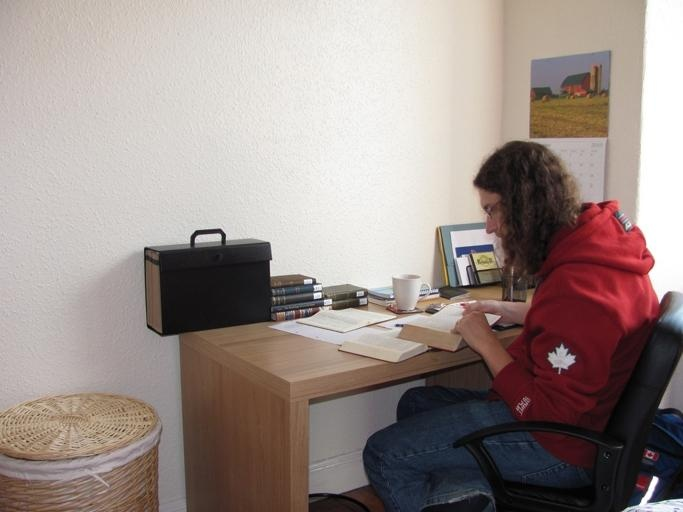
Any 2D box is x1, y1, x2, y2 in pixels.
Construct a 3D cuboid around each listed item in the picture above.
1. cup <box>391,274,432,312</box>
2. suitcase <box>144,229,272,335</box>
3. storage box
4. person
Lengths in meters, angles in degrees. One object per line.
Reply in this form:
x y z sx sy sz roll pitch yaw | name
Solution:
0.279 0.154 2.187 0.159 0.134 0.100 5 -5 -39 | cup
-0.499 0.111 1.944 0.370 0.314 0.130 -4 7 -32 | suitcase
-0.499 0.113 1.945 0.374 0.318 0.133 -4 6 -32 | storage box
0.693 0.160 2.341 1.103 1.859 1.027 4 7 29 | person
